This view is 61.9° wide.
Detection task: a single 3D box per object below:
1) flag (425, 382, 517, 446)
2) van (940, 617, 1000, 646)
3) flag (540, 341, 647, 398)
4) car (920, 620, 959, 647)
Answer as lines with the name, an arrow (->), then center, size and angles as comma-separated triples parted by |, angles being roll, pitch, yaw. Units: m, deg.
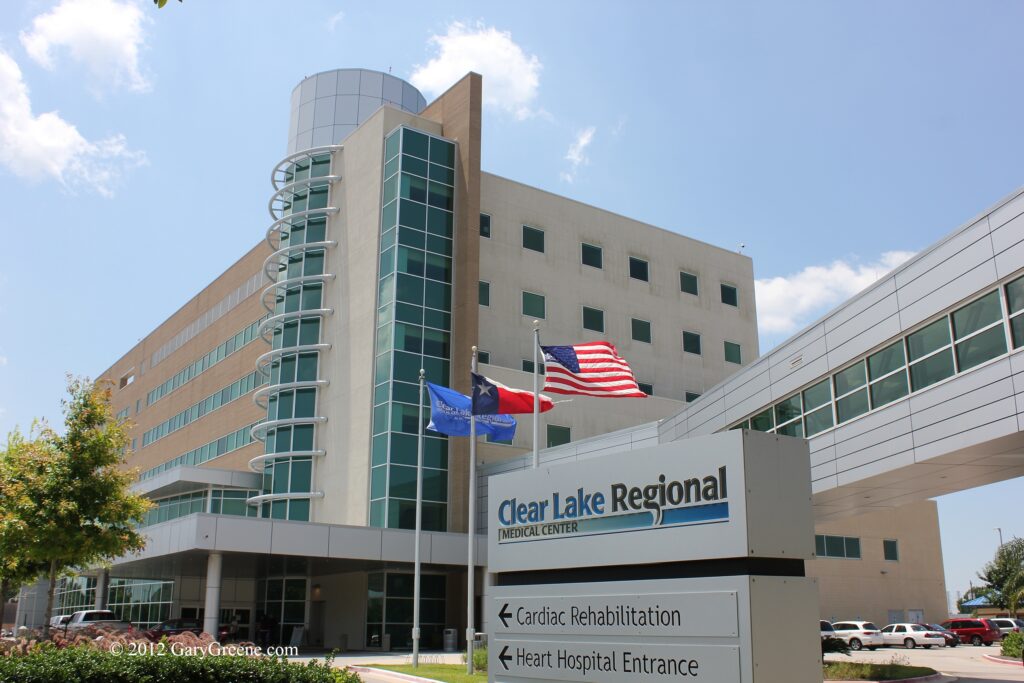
flag -> -1.589, 2.701, 32.338 | 4.151, 2.274, 0.769 | 1, -9, 28
van -> 29.504, 18.659, 55.480 | 2.018, 1.382, 3.478 | 15, -15, -35
flag -> 3.087, 1.175, 34.821 | 4.220, 2.785, 0.561 | 4, -37, -6
car -> 25.919, 18.063, 52.798 | 1.224, 0.865, 2.614 | 11, -11, -42
